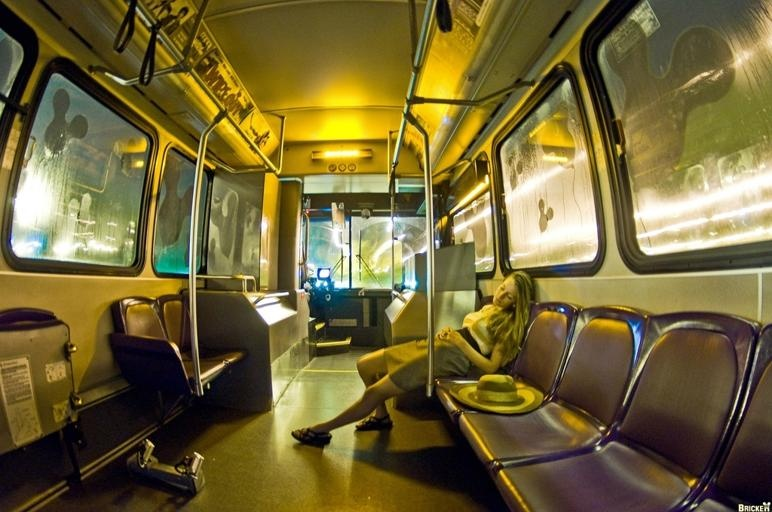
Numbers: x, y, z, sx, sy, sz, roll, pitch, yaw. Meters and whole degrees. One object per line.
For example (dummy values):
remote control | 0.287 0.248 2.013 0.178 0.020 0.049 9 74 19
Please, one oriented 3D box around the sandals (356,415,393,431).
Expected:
sandals | -0.104 1.554 4.299 0.339 0.138 0.135 5 -18 -7

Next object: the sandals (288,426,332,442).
sandals | -0.669 1.590 4.056 0.324 0.128 0.141 3 -30 8

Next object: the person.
person | 0.193 0.946 4.328 2.253 1.461 0.773 -5 6 3
